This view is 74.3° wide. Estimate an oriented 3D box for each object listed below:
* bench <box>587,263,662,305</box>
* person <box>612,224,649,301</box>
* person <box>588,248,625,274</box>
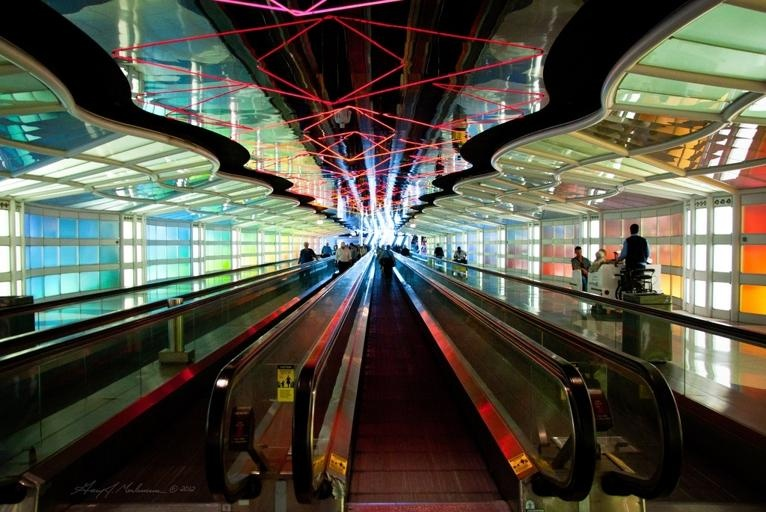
[{"bbox_3d":[6.732,0.752,14.350,1.505,0.702,1.911,1,2,1],"label":"bench"},{"bbox_3d":[6.525,0.148,13.299,0.962,1.807,0.771,3,14,23],"label":"person"},{"bbox_3d":[7.371,0.146,16.760,1.139,0.651,1.295,-1,0,11],"label":"person"}]
